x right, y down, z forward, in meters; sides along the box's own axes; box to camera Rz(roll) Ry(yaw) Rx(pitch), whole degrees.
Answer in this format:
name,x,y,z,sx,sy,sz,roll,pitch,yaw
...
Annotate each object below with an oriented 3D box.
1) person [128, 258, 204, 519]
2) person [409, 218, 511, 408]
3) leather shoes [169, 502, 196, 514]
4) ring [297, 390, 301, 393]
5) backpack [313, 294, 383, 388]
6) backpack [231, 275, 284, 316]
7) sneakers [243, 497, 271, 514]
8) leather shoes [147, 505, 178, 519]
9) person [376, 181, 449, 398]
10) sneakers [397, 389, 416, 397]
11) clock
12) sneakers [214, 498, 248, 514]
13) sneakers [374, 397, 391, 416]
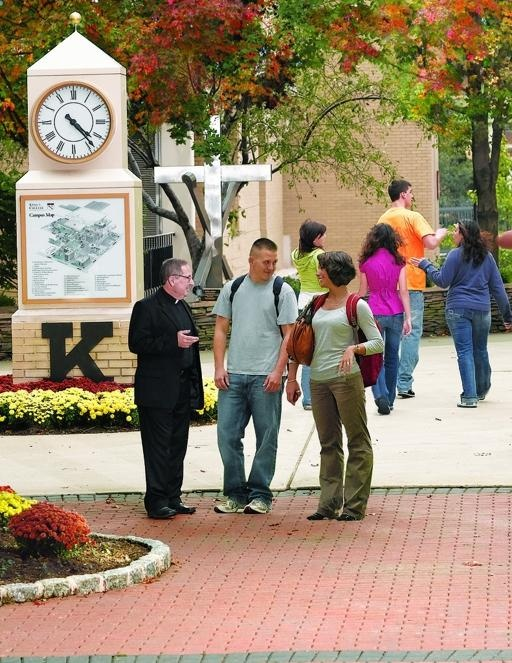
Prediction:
name,x,y,z,sx,sy,sz,roll,pitch,yaw
person,-0.575,0.353,6.333,0.455,1.649,0.593,-2,4,-3
person,2.072,-0.163,9.707,0.925,1.865,0.780,-1,4,8
leather shoes,-0.460,1.146,6.277,0.194,0.066,0.058,0,2,9
ring,0.271,0.383,6.127,0.019,0.017,0.021,-4,20,-10
backpack,0.524,0.051,5.857,0.437,0.568,0.285,0,4,17
backpack,-0.011,-0.231,6.280,0.307,0.361,0.350,6,-1,-18
sneakers,0.023,1.115,6.175,0.079,0.067,0.182,-3,-10,25
leather shoes,-0.581,1.140,6.158,0.182,0.063,0.070,-2,-1,13
person,1.688,-0.467,10.053,0.886,2.200,0.894,0,4,-28
sneakers,1.608,0.672,10.435,0.070,0.079,0.206,5,1,44
clock,-1.934,-2.277,10.330,1.110,0.882,0.087,2,-5,-1
sneakers,-0.167,1.136,6.302,0.238,0.085,0.075,5,9,-12
sneakers,1.227,0.725,9.434,0.105,0.201,0.092,-12,26,1
